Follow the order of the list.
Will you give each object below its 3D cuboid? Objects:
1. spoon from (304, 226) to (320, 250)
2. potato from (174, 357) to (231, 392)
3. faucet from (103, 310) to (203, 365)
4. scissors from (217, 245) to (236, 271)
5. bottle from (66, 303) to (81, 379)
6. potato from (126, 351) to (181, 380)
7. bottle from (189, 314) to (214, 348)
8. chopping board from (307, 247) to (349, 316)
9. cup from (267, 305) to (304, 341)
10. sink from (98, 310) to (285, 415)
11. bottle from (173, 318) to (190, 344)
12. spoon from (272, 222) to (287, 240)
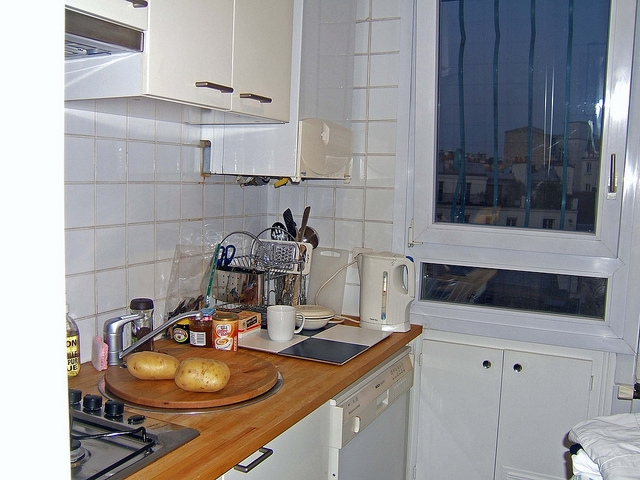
[{"bbox_3d":[-0.038,-0.017,2.417,0.093,0.092,0.022,37,13,14],"label":"spoon"},{"bbox_3d":[-0.326,0.351,1.334,0.118,0.062,0.086,8,15,13],"label":"potato"},{"bbox_3d":[-0.524,0.312,1.534,0.315,0.168,0.064,0,0,8],"label":"faucet"},{"bbox_3d":[-0.405,0.079,2.106,0.061,0.097,0.018,27,-12,-41],"label":"scissors"},{"bbox_3d":[-0.729,0.311,1.432,0.034,0.213,0.190,-4,9,-28],"label":"bottle"},{"bbox_3d":[-0.488,0.359,1.436,0.141,0.068,0.070,9,20,-9],"label":"potato"},{"bbox_3d":[-0.426,0.330,1.769,0.075,0.127,0.119,2,-3,3],"label":"bottle"},{"bbox_3d":[0.037,0.183,2.363,0.181,0.360,0.007,12,-37,-5],"label":"chopping board"},{"bbox_3d":[-0.131,0.324,1.837,0.141,0.116,0.112,1,-2,16],"label":"cup"},{"bbox_3d":[-0.399,0.352,1.487,0.493,0.187,0.491,6,1,7],"label":"sink"},{"bbox_3d":[-0.497,0.336,1.803,0.079,0.084,0.080,-1,2,-4],"label":"bottle"},{"bbox_3d":[-0.201,-0.042,2.352,0.069,0.075,0.064,-2,8,-15],"label":"spoon"}]
